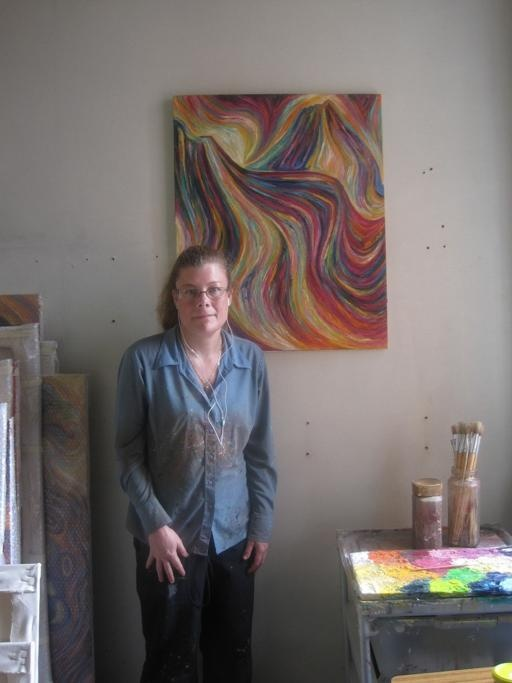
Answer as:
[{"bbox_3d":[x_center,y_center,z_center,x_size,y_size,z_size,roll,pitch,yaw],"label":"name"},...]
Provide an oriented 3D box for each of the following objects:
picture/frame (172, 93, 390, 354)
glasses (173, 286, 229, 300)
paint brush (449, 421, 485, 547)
[{"bbox_3d":[0.057,-0.382,2.075,0.735,0.942,0.012,-1,1,2],"label":"picture/frame"},{"bbox_3d":[-0.146,-0.128,1.828,0.129,0.036,0.054,0,-1,-6],"label":"glasses"},{"bbox_3d":[0.574,0.390,1.918,0.090,0.346,0.097,3,8,14],"label":"paint brush"}]
